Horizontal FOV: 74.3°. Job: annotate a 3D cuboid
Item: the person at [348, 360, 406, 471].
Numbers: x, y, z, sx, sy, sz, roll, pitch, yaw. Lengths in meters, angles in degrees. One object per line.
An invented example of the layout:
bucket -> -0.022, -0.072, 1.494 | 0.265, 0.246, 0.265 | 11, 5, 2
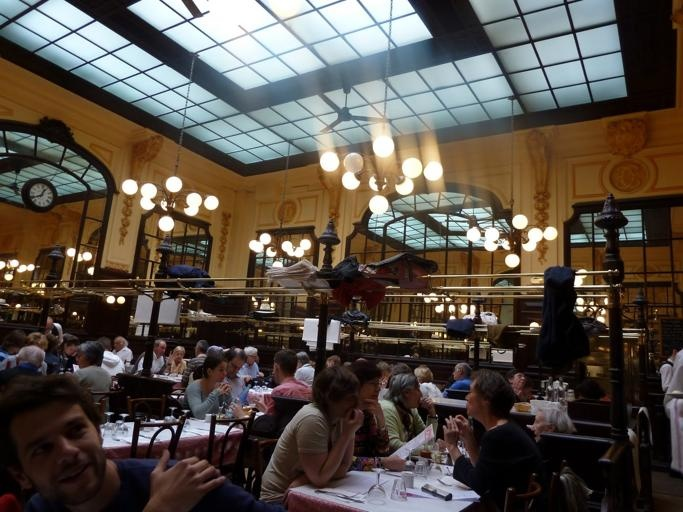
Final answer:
person -> 0.227, 1.376, 3.823 | 0.663, 0.809, 0.454 | -5, -2, 20

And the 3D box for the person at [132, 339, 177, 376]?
person -> -4.129, 2.293, 9.885 | 0.714, 0.925, 0.619 | 20, -14, -39

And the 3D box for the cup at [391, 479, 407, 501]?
cup -> 0.383, 1.568, 3.018 | 0.122, 0.105, 0.106 | -6, -13, 18

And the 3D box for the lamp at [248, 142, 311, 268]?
lamp -> -1.851, -1.365, 14.503 | 1.866, 3.885, 1.779 | 13, 4, 21

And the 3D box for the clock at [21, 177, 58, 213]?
clock -> -8.325, -1.727, 12.623 | 1.045, 0.893, 0.306 | 5, 11, 10

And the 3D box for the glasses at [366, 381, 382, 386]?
glasses -> 0.276, 1.093, 3.845 | 0.104, 0.044, 0.132 | -12, -22, 44
